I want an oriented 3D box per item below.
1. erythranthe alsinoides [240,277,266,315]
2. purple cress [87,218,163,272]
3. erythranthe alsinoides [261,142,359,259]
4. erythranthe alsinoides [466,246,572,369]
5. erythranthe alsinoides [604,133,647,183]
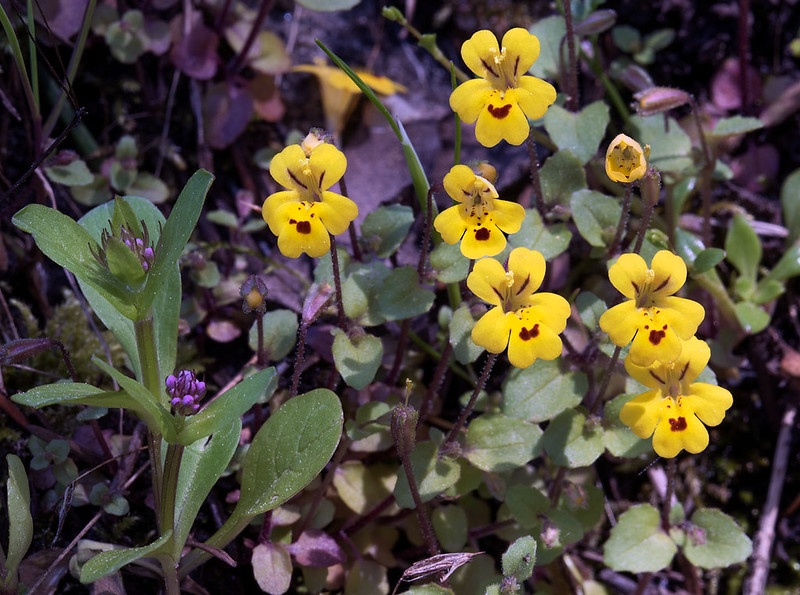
[{"bbox_3d":[-0.572,-0.004,2.822,0.103,0.177,0.119,-14,77,-7],"label":"erythranthe alsinoides"},{"bbox_3d":[-1.010,-0.241,2.596,0.195,0.223,0.148,-9,111,-18],"label":"purple cress"},{"bbox_3d":[-0.338,-0.368,2.679,0.349,0.126,0.414,0,78,-5],"label":"erythranthe alsinoides"},{"bbox_3d":[0.456,0.053,2.751,0.394,0.165,0.456,-13,86,-10],"label":"erythranthe alsinoides"},{"bbox_3d":[0.892,-0.529,2.798,0.135,0.183,0.128,1,76,-3],"label":"erythranthe alsinoides"}]
